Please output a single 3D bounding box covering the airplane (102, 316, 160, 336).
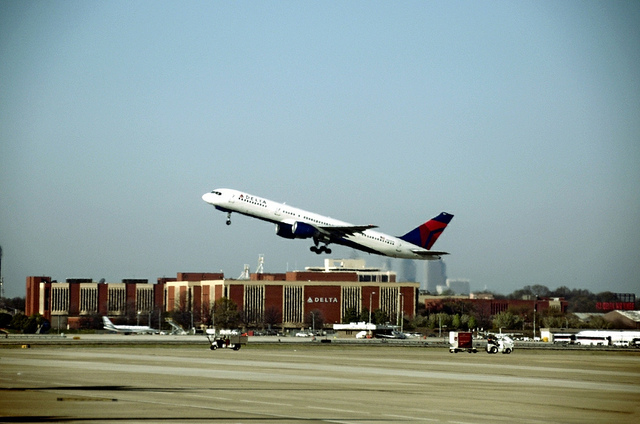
[{"bbox_3d":[-32.160,19.625,178.791,6.395,2.654,16.867,4,-9,-23],"label":"airplane"}]
